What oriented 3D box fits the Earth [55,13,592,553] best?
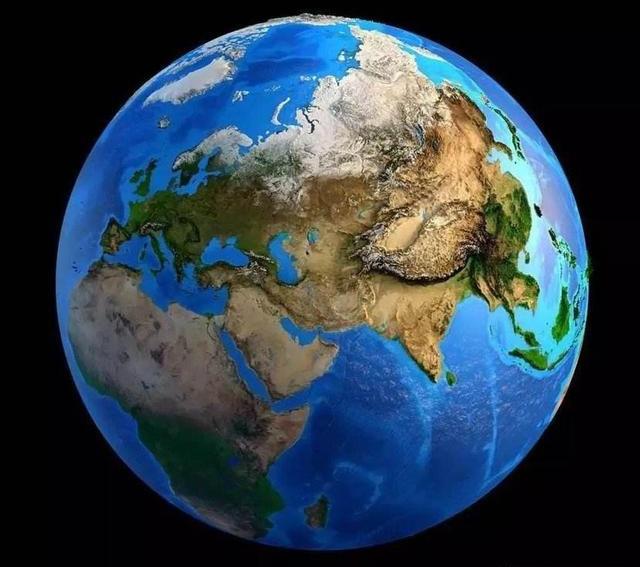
[{"bbox_3d":[-0.009,0.004,5.185,3.242,1.643,2.998,10,67,3],"label":"Earth"}]
